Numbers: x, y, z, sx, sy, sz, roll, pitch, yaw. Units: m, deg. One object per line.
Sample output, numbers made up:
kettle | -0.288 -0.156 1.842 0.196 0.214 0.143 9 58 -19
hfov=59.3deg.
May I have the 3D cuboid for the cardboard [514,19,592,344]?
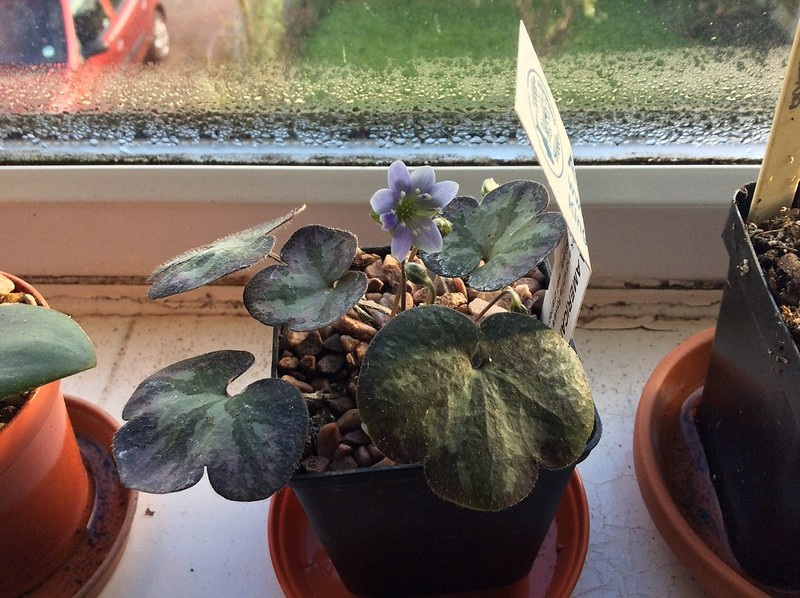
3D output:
cardboard | 0.219 -0.181 1.001 0.018 0.370 0.393 -7 29 18
